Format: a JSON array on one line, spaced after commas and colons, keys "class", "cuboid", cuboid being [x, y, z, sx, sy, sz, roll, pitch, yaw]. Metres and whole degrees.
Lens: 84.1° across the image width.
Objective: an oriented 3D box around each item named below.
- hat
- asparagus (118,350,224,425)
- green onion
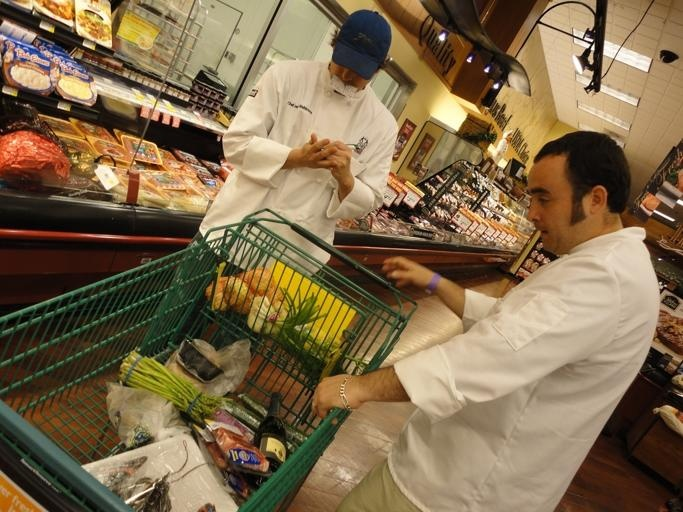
[{"class": "hat", "cuboid": [0.114, -1.014, 1.809, 0.248, 0.303, 0.215, 24, 17, -6]}, {"class": "asparagus", "cuboid": [-0.487, 0.360, 1.073, 0.343, 0.095, 0.118, 32, 38, 9]}, {"class": "green onion", "cuboid": [-0.174, 0.203, 1.261, 0.195, 0.196, 0.163, -12, 19, -36]}]
